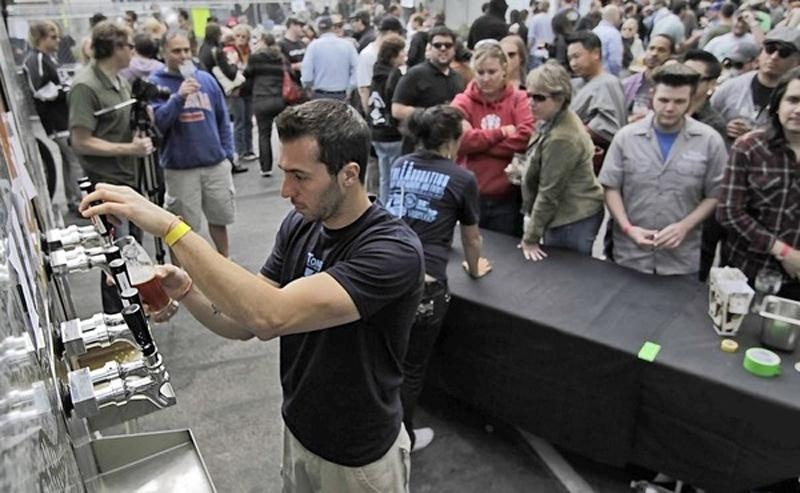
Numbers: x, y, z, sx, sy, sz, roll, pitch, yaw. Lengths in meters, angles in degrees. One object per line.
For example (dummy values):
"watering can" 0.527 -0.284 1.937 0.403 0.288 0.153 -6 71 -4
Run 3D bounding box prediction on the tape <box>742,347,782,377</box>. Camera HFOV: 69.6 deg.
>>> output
"tape" 1.859 0.585 2.952 0.154 0.056 0.123 10 26 25

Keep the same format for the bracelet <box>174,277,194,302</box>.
"bracelet" -0.911 0.188 2.444 0.079 0.029 0.106 -2 57 50

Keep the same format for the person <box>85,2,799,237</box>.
"person" 0.221 -1.060 4.753 3.719 1.149 1.151 2 20 -2

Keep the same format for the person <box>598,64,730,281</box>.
"person" 1.780 -0.179 3.925 0.868 1.946 0.735 1 32 18

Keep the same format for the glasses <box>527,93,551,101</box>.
"glasses" 0.930 -1.002 3.876 0.039 0.058 0.147 -18 26 -35

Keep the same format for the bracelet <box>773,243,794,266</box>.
"bracelet" 2.350 0.037 3.504 0.126 0.117 0.070 14 27 35

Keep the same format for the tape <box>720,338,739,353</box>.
"tape" 1.770 0.526 3.082 0.115 0.042 0.078 -12 23 -25

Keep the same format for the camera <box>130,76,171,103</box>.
"camera" -1.987 -1.206 4.481 0.234 0.080 0.248 15 13 30

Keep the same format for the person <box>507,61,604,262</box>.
"person" 1.112 -0.578 4.115 0.682 1.863 0.614 -8 34 4

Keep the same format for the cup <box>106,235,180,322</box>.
"cup" -1.079 0.141 2.406 0.225 0.359 0.269 -6 22 -10

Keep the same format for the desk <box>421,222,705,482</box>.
"desk" 1.018 0.494 3.531 1.919 0.945 1.074 20 51 36

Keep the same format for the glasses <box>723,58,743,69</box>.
"glasses" 3.399 -1.856 5.857 0.131 0.055 0.187 10 3 28
